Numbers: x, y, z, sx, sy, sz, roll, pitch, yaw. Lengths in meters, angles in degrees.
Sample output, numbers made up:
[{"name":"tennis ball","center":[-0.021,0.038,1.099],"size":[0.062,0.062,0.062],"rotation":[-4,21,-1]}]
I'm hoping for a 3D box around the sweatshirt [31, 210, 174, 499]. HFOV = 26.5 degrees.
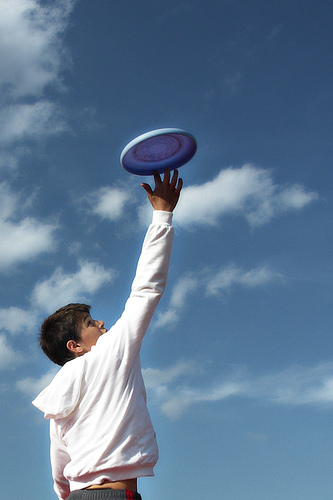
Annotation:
[{"name":"sweatshirt","center":[-0.244,0.530,4.024],"size":[0.948,1.638,0.469],"rotation":[-20,-40,39]}]
